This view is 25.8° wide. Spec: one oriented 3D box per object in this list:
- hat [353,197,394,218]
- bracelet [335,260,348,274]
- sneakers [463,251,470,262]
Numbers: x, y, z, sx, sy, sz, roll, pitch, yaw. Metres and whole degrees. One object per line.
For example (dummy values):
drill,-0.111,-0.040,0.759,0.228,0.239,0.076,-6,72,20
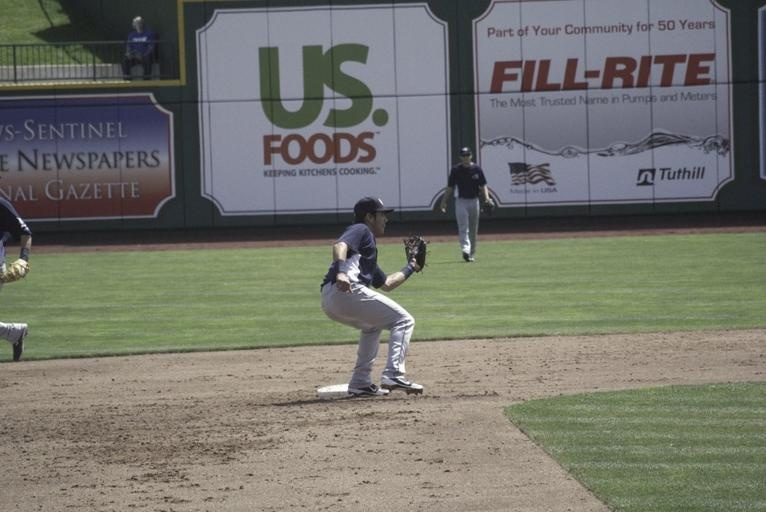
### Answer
hat,-0.236,-1.087,36.388,0.744,0.366,0.451,-2,6,-1
bracelet,-0.885,0.215,35.814,0.286,0.247,0.250,2,2,-1
sneakers,2.258,0.010,44.999,0.111,0.120,0.307,1,-33,12
